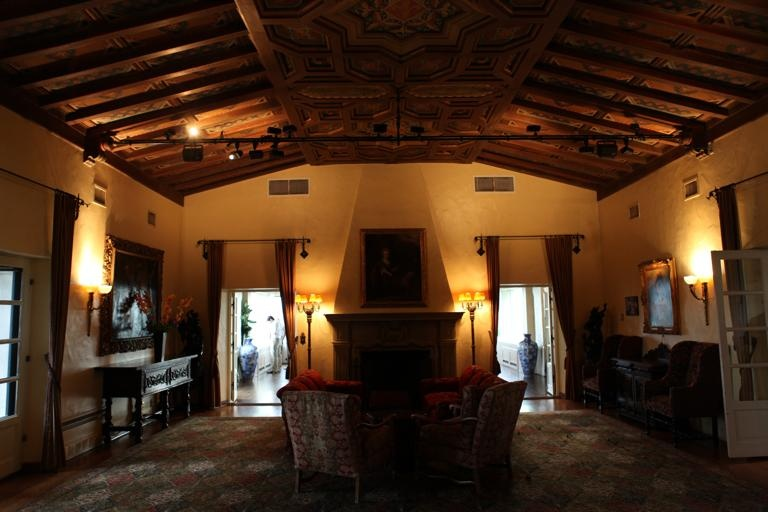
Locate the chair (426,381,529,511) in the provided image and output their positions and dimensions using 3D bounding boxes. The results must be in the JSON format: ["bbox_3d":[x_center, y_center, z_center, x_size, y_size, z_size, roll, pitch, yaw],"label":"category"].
[{"bbox_3d":[1.305,2.566,7.577,1.074,1.504,1.115,-1,0,43],"label":"chair"}]

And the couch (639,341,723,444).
[{"bbox_3d":[5.230,2.317,9.008,1.083,1.316,0.732,-1,0,-1],"label":"couch"}]

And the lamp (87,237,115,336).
[{"bbox_3d":[-5.075,0.498,9.291,0.261,1.985,0.709,-1,0,1],"label":"lamp"}]

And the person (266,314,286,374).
[{"bbox_3d":[-3.684,2.877,17.558,0.380,1.952,1.141,-1,0,-1],"label":"person"}]

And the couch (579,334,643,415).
[{"bbox_3d":[4.951,2.517,11.244,0.998,1.553,0.914,1,-7,0],"label":"couch"}]

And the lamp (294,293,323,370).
[{"bbox_3d":[-1.765,1.724,12.001,0.616,1.730,0.446,-1,0,-7],"label":"lamp"}]

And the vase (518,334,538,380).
[{"bbox_3d":[4.177,2.927,15.308,0.565,1.150,0.755,-1,0,27],"label":"vase"}]

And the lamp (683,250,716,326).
[{"bbox_3d":[5.687,0.555,9.450,0.280,1.070,0.540,-1,0,-6],"label":"lamp"}]

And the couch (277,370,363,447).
[{"bbox_3d":[-1.051,2.591,9.009,1.228,0.988,2.051,-1,-8,6],"label":"couch"}]

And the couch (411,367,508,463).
[{"bbox_3d":[1.315,2.545,7.732,1.385,1.351,1.103,-5,-8,34],"label":"couch"}]

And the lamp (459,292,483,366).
[{"bbox_3d":[2.063,1.667,12.153,0.635,1.551,0.366,-1,0,7],"label":"lamp"}]

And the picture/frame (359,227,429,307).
[{"bbox_3d":[0.195,0.258,12.109,1.684,1.876,0.109,0,-3,-21],"label":"picture/frame"}]

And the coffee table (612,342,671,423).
[{"bbox_3d":[5.137,2.403,10.085,0.705,1.634,1.445,0,-7,-2],"label":"coffee table"}]

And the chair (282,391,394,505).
[{"bbox_3d":[-0.634,2.665,7.715,1.227,1.401,1.707,-3,-6,20],"label":"chair"}]
